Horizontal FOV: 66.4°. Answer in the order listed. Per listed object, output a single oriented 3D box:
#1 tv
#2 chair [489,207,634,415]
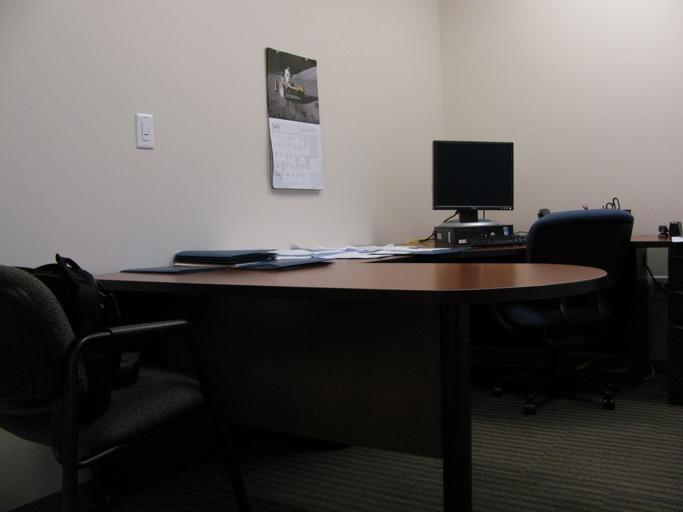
[{"bbox_3d":[0.858,-0.487,3.389,0.621,0.673,0.206,0,-2,-9],"label":"tv"},{"bbox_3d":[1.197,0.253,2.886,0.633,1.102,0.732,-1,6,13],"label":"chair"}]
